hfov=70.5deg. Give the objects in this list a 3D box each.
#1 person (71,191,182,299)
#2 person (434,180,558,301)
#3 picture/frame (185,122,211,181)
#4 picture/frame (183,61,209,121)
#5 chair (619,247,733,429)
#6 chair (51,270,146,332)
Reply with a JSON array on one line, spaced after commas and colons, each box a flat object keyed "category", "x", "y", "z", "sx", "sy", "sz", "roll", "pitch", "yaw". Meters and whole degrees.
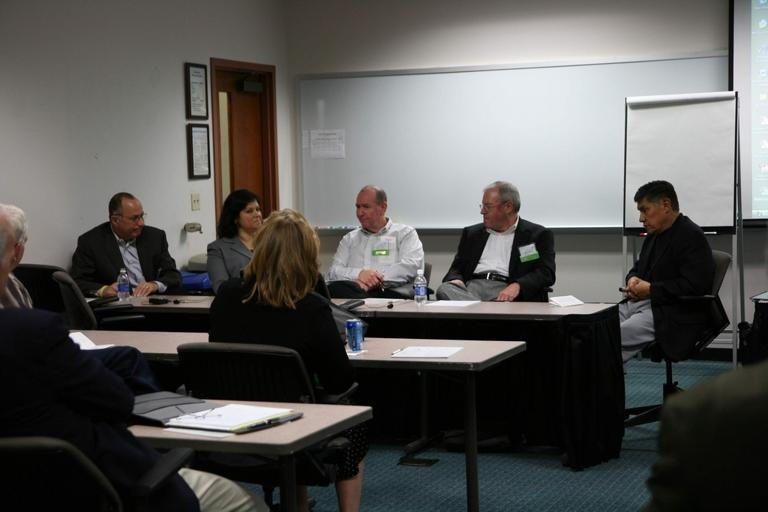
[{"category": "person", "x": -2.248, "y": -0.147, "z": 5.040, "sx": 0.839, "sy": 1.160, "sz": 0.959, "roll": -1, "pitch": 1, "yaw": 42}, {"category": "person", "x": 0.990, "y": 0.104, "z": 4.690, "sx": 0.920, "sy": 1.458, "sz": 0.776, "roll": 2, "pitch": 0, "yaw": 15}, {"category": "picture/frame", "x": -1.886, "y": -1.077, "z": 5.597, "sx": 0.084, "sy": 0.555, "sz": 0.305, "roll": 2, "pitch": 11, "yaw": 24}, {"category": "picture/frame", "x": -1.892, "y": -1.672, "z": 5.561, "sx": 0.063, "sy": 0.567, "sz": 0.311, "roll": 3, "pitch": 11, "yaw": 29}, {"category": "chair", "x": 2.132, "y": 0.602, "z": 3.908, "sx": 0.544, "sy": 1.180, "sz": 1.040, "roll": 6, "pitch": 13, "yaw": 39}, {"category": "chair", "x": -1.908, "y": 0.333, "z": 3.749, "sx": 0.449, "sy": 0.649, "sz": 0.490, "roll": -7, "pitch": 7, "yaw": -19}]
